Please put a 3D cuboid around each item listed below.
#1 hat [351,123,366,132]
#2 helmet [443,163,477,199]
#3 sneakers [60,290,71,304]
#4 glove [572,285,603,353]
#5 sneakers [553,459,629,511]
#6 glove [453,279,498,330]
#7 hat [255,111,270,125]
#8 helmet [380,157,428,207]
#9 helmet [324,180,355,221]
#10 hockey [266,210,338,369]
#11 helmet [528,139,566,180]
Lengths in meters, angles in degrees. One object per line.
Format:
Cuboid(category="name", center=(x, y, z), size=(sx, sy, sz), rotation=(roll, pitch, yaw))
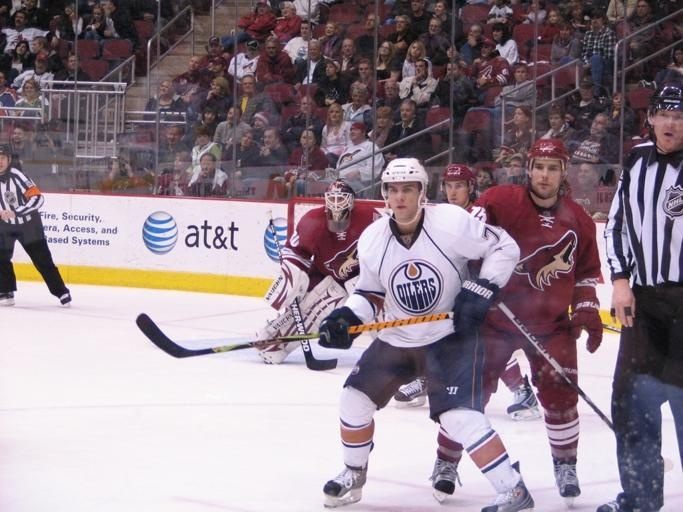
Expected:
Cuboid(category="hat", center=(0.157, -1.186, 9.584), size=(0.147, 0.073, 0.075), rotation=(6, 13, 26))
Cuboid(category="helmet", center=(0.775, -0.518, 6.968), size=(0.177, 0.190, 0.260), rotation=(6, -12, 28))
Cuboid(category="sneakers", center=(-2.537, 0.393, 9.703), size=(0.100, 0.111, 0.125), rotation=(-12, -32, -14))
Cuboid(category="glove", center=(1.276, 0.326, 5.524), size=(0.100, 0.334, 0.192), rotation=(18, -23, -36))
Cuboid(category="sneakers", center=(1.189, 1.158, 5.268), size=(0.124, 0.152, 0.350), rotation=(-21, 24, 7))
Cuboid(category="glove", center=(0.643, 0.235, 5.150), size=(0.092, 0.261, 0.180), rotation=(39, -6, -24))
Cuboid(category="hat", center=(-0.768, -1.322, 10.081), size=(0.131, 0.109, 0.116), rotation=(15, 6, 39))
Cuboid(category="helmet", center=(0.301, -0.377, 5.362), size=(0.205, 0.236, 0.253), rotation=(-3, 4, 11))
Cuboid(category="helmet", center=(-0.013, -0.385, 7.480), size=(0.191, 0.242, 0.268), rotation=(-1, 1, 5))
Cuboid(category="hockey", center=(-0.274, 0.269, 7.527), size=(0.218, 0.069, 1.573), rotation=(-17, 42, 0))
Cuboid(category="helmet", center=(1.094, -0.517, 5.573), size=(0.156, 0.172, 0.184), rotation=(2, -9, 8))
